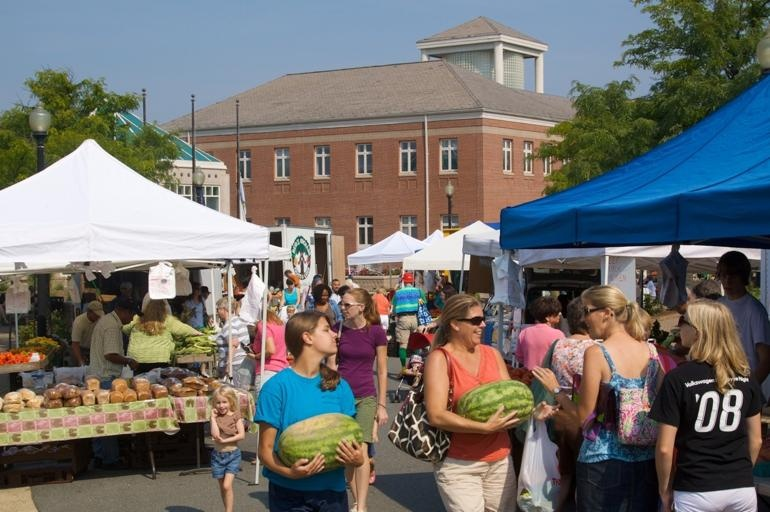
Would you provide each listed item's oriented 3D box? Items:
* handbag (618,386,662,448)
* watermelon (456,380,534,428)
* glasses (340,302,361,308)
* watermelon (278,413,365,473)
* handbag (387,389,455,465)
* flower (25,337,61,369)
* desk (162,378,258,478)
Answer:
[{"bbox_3d":[2.736,1.685,11.446,0.582,0.749,0.242,5,-6,-29],"label":"handbag"},{"bbox_3d":[1.234,1.592,11.518,0.879,0.454,0.229,1,-4,-15],"label":"watermelon"},{"bbox_3d":[-0.474,0.659,13.964,0.283,0.071,0.139,-3,-4,38],"label":"glasses"},{"bbox_3d":[-0.689,1.948,11.012,0.986,0.536,0.538,-4,-1,-16],"label":"watermelon"},{"bbox_3d":[0.332,1.913,11.757,0.601,0.759,0.875,1,-1,-36],"label":"handbag"},{"bbox_3d":[-6.115,1.746,18.782,0.592,0.579,0.622,-2,-2,30],"label":"flower"},{"bbox_3d":[-2.664,2.484,15.890,1.552,1.146,1.514,0,3,-18],"label":"desk"}]
